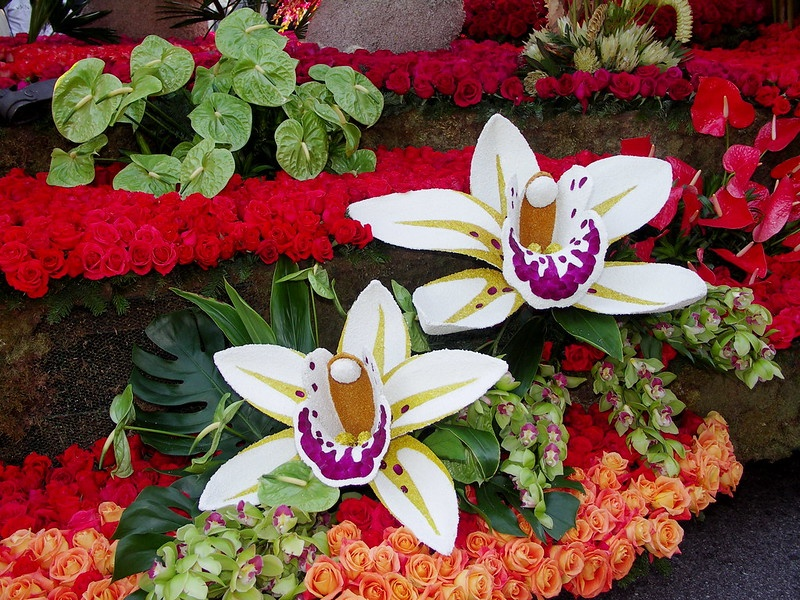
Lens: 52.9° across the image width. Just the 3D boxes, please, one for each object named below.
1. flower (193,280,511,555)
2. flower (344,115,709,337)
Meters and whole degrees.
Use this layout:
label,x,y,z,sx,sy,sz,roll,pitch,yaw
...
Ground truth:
label,x,y,z,sx,sy,sz,roll,pitch,yaw
flower,-0.103,0.416,2.217,0.619,0.246,0.679,-37,63,25
flower,0.390,-0.183,2.459,0.657,0.878,0.331,4,50,12
